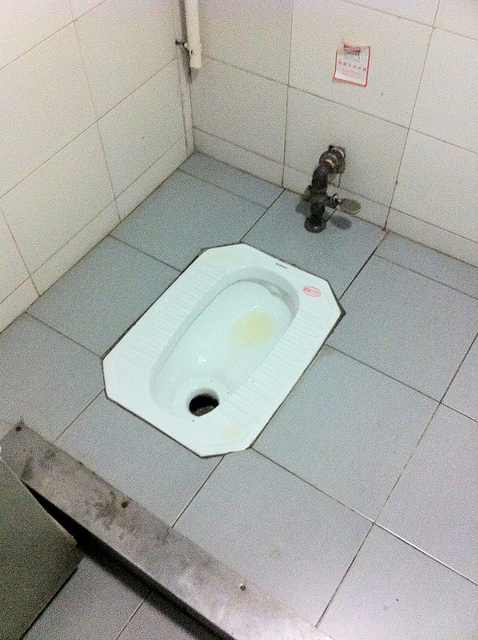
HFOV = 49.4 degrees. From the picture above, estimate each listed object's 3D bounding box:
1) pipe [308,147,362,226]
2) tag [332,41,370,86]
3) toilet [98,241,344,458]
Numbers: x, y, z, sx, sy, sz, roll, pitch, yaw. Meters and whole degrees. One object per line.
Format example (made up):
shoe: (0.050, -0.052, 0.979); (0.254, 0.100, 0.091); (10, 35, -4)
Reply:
pipe: (0.341, -0.460, 1.853); (0.202, 0.263, 0.090); (-3, 31, -6)
tag: (0.339, -0.787, 1.582); (0.129, 0.145, 0.019); (9, -9, -15)
toilet: (-0.034, 0.072, 1.716); (0.557, 0.266, 0.701); (26, 60, 22)
